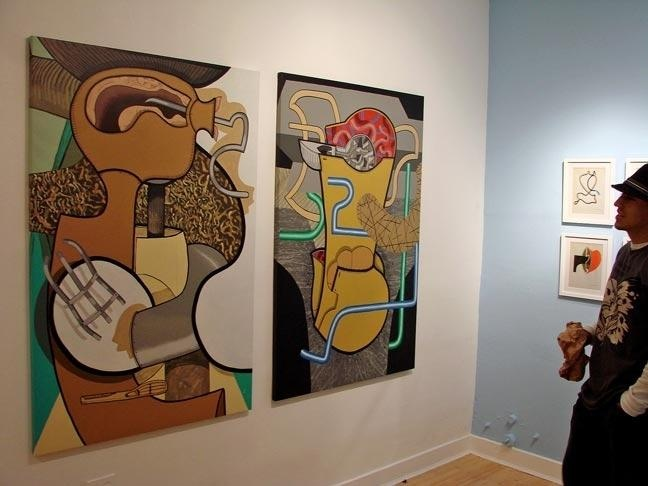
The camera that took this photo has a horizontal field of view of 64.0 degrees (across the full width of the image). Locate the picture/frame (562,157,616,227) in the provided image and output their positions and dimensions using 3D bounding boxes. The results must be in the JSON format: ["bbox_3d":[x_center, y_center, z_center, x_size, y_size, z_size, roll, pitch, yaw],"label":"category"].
[{"bbox_3d":[1.797,-0.352,3.527,0.313,0.498,0.028,7,34,35],"label":"picture/frame"}]

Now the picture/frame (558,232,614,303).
[{"bbox_3d":[1.782,0.162,3.534,0.297,0.487,0.034,4,29,26],"label":"picture/frame"}]
